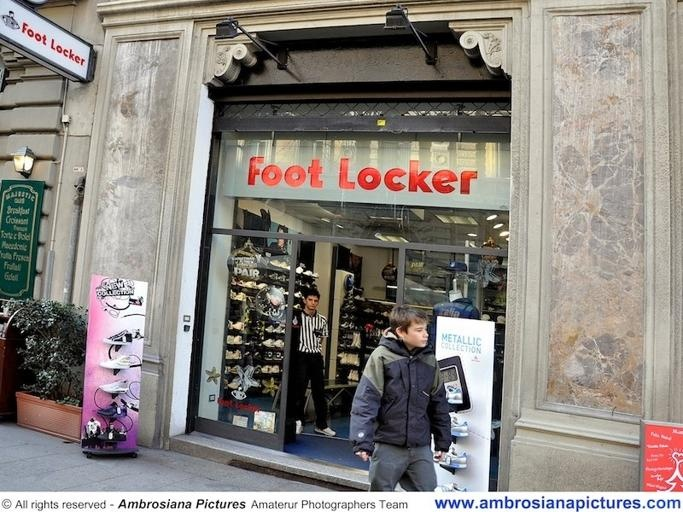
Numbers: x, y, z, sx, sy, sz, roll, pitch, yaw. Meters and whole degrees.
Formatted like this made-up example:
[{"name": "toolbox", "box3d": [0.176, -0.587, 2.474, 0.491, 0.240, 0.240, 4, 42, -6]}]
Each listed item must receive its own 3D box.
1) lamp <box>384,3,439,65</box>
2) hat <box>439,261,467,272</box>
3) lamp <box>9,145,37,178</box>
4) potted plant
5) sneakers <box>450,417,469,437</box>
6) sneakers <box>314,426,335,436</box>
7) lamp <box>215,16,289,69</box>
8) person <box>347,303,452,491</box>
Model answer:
[{"name": "lamp", "box3d": [0.782, -2.606, 6.832, 0.401, 0.625, 0.827, 0, -8, 28]}, {"name": "hat", "box3d": [1.318, 0.117, 7.007, 0.303, 0.129, 0.048, 2, -8, 23]}, {"name": "lamp", "box3d": [-4.407, -1.304, 8.356, 0.375, 0.515, 0.357, 0, -1, 27]}, {"name": "potted plant", "box3d": [-3.672, 1.376, 7.519, 1.220, 1.623, 0.768, 5, -8, -5]}, {"name": "sneakers", "box3d": [1.120, 1.617, 5.698, 0.286, 0.133, 0.097, 1, -7, 33]}, {"name": "sneakers", "box3d": [-0.204, 2.292, 7.923, 0.258, 0.081, 0.096, -5, -6, 41]}, {"name": "lamp", "box3d": [-0.951, -2.632, 7.359, 0.900, 0.349, 0.516, 26, 22, 25]}, {"name": "person", "box3d": [0.525, 1.188, 5.047, 0.909, 1.546, 0.317, 8, -9, -24]}]
